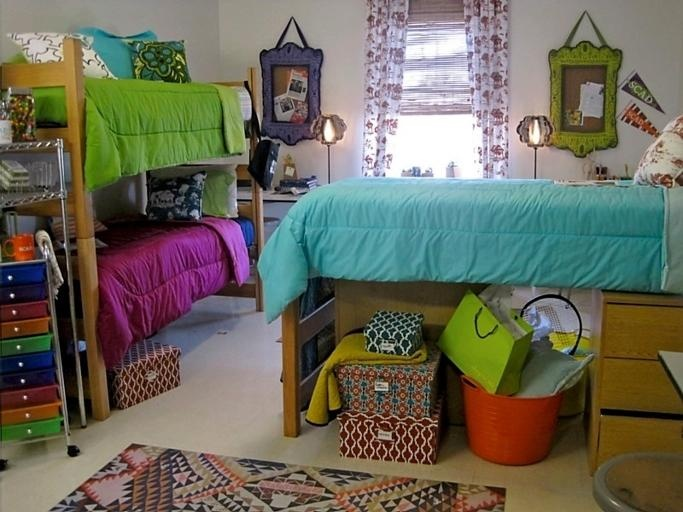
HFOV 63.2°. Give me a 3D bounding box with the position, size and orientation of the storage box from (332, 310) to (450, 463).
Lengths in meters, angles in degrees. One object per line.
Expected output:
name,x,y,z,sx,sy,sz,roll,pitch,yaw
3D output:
storage box,0.233,0.646,2.729,0.467,0.391,0.495,0,6,4

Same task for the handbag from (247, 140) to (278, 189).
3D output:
handbag,-0.617,-0.753,4.415,0.124,0.365,0.275,4,36,-19

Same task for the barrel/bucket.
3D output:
barrel/bucket,0.757,0.761,2.460,0.384,0.302,0.357,-1,3,0

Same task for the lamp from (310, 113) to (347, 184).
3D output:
lamp,-0.115,-1.069,5.491,0.350,0.672,0.310,-2,13,-2

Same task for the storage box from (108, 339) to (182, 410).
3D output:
storage box,-1.123,0.653,3.139,0.281,0.192,0.290,7,11,39

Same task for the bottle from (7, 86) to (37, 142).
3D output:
bottle,-1.505,-0.674,2.628,0.104,0.244,0.058,-11,16,-35

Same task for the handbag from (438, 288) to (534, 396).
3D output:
handbag,0.651,0.408,2.559,0.155,0.341,0.401,-1,33,-48

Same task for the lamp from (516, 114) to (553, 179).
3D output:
lamp,1.759,-1.007,5.101,0.325,0.577,0.343,3,14,18

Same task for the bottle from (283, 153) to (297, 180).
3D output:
bottle,-0.524,-0.925,5.658,0.136,0.241,0.173,-3,14,-6
